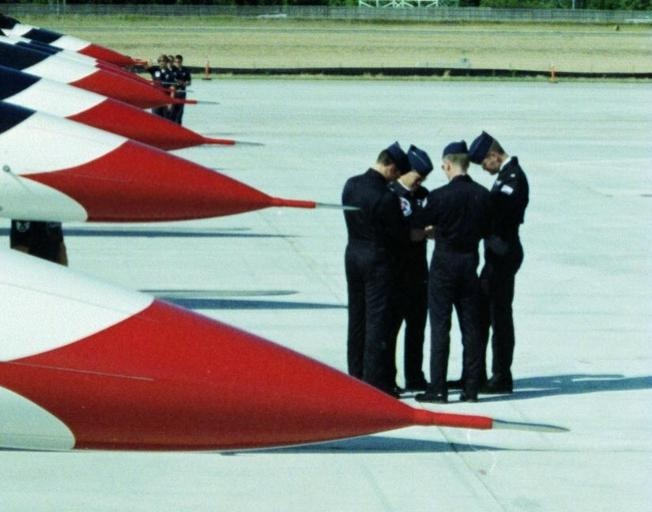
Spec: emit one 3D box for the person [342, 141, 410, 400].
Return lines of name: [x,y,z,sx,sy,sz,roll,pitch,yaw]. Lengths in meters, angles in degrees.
person: [0.729,0.174,27.037,0.770,3.630,0.802,-3,10,-29]

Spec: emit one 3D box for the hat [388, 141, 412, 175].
hat: [1.031,-1.486,27.024,0.242,0.459,0.360,-36,26,-8]

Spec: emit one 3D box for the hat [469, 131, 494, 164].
hat: [2.314,-1.757,27.636,0.346,0.225,0.481,34,7,-20]

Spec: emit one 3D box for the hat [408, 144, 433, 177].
hat: [1.343,-1.368,27.148,0.173,0.478,0.339,-37,16,14]

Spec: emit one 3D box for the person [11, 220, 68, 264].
person: [-4.639,-0.192,28.883,0.876,0.723,0.363,1,8,-11]

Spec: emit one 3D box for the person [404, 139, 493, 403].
person: [1.869,0.269,27.122,1.001,3.909,0.642,2,8,2]
